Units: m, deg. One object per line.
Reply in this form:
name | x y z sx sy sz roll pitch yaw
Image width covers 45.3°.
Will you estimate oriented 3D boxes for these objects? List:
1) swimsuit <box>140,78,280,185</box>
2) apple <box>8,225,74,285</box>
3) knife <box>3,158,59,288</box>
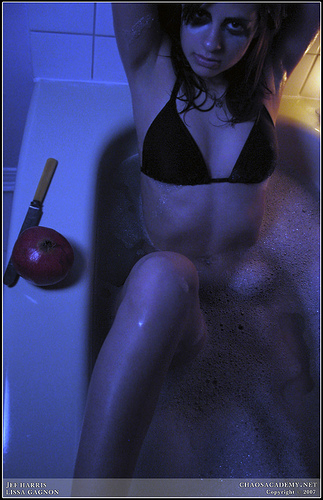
swimsuit | 0.120 -0.275 0.820 0.285 0.172 0.301 3 91 19
apple | -0.213 0.008 0.697 0.096 0.069 0.096 21 65 14
knife | -0.250 -0.098 0.794 0.035 0.034 0.371 12 59 -8
